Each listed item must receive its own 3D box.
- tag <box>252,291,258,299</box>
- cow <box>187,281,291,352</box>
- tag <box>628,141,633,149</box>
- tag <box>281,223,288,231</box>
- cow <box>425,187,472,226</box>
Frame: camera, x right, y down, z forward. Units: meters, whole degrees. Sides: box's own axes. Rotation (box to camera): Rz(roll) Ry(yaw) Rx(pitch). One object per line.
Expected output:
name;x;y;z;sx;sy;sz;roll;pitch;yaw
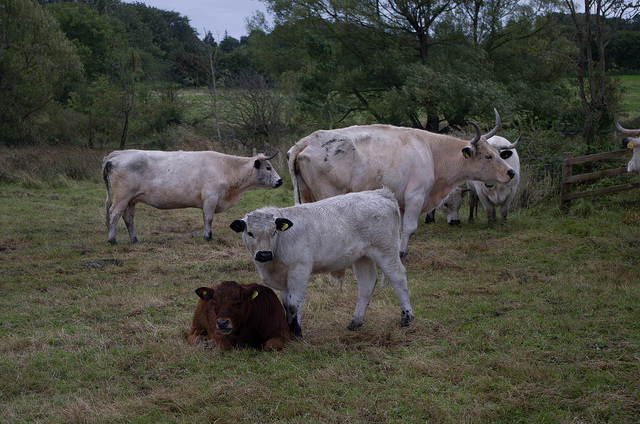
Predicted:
tag;-1.265;1.597;11.890;0.125;0.144;0.085;0;8;-26
cow;-1.542;1.944;11.466;1.153;0.853;1.875;-1;-13;-4
tag;8.147;-1.760;16.126;0.057;0.216;0.114;-4;33;8
tag;-0.680;0.275;11.750;0.098;0.125;0.014;3;7;-6
cow;3.707;-0.163;17.883;0.761;0.880;1.554;11;-11;-20
